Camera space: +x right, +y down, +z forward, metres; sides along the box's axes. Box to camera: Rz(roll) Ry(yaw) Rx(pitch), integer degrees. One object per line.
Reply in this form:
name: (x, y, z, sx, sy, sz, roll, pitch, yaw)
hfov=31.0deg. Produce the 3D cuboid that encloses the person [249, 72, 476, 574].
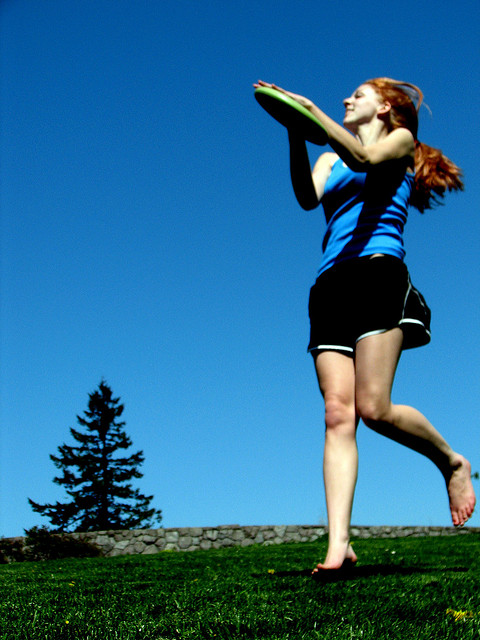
person: (0.530, -0.054, 3.455, 0.629, 2.062, 1.209, -13, -23, 35)

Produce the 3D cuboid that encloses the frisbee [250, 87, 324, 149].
frisbee: (0.219, -0.765, 3.316, 0.264, 0.239, 0.234, -8, -20, 25)
